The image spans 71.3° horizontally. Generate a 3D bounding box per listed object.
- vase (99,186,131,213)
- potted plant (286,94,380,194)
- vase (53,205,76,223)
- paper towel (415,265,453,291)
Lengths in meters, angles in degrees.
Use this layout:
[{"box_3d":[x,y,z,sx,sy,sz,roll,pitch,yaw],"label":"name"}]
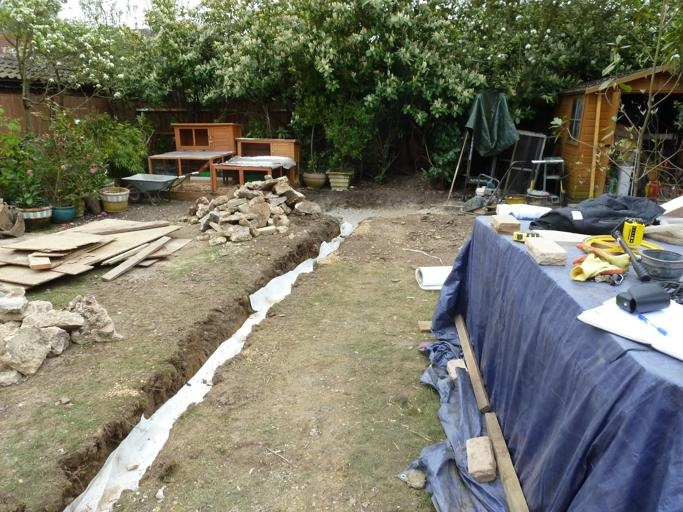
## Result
[{"box_3d":[-4.949,-1.258,10.530,0.525,0.429,0.550,1,23,-7],"label":"vase"},{"box_3d":[-0.212,-3.371,13.332,2.256,2.006,1.267,2,12,10],"label":"potted plant"},{"box_3d":[-5.470,-0.825,9.425,0.295,0.254,0.322,1,4,-18],"label":"vase"},{"box_3d":[1.292,0.303,6.703,0.403,0.137,0.330,-2,38,1],"label":"paper towel"}]
